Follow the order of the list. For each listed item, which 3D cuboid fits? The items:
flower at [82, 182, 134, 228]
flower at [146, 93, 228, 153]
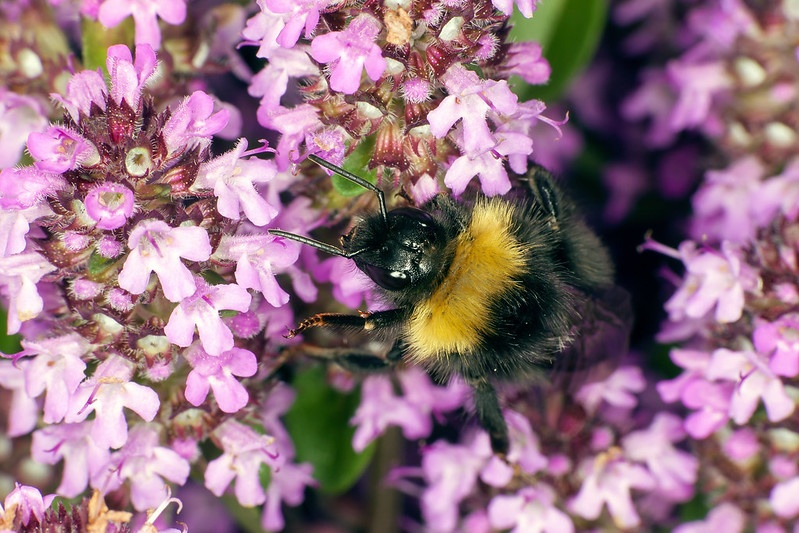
[{"bbox_3d":[-0.799,-0.171,2.595,0.116,0.060,0.130,7,84,2],"label":"flower"},{"bbox_3d":[-0.613,-0.419,2.742,0.180,0.086,0.177,-36,78,-15],"label":"flower"}]
